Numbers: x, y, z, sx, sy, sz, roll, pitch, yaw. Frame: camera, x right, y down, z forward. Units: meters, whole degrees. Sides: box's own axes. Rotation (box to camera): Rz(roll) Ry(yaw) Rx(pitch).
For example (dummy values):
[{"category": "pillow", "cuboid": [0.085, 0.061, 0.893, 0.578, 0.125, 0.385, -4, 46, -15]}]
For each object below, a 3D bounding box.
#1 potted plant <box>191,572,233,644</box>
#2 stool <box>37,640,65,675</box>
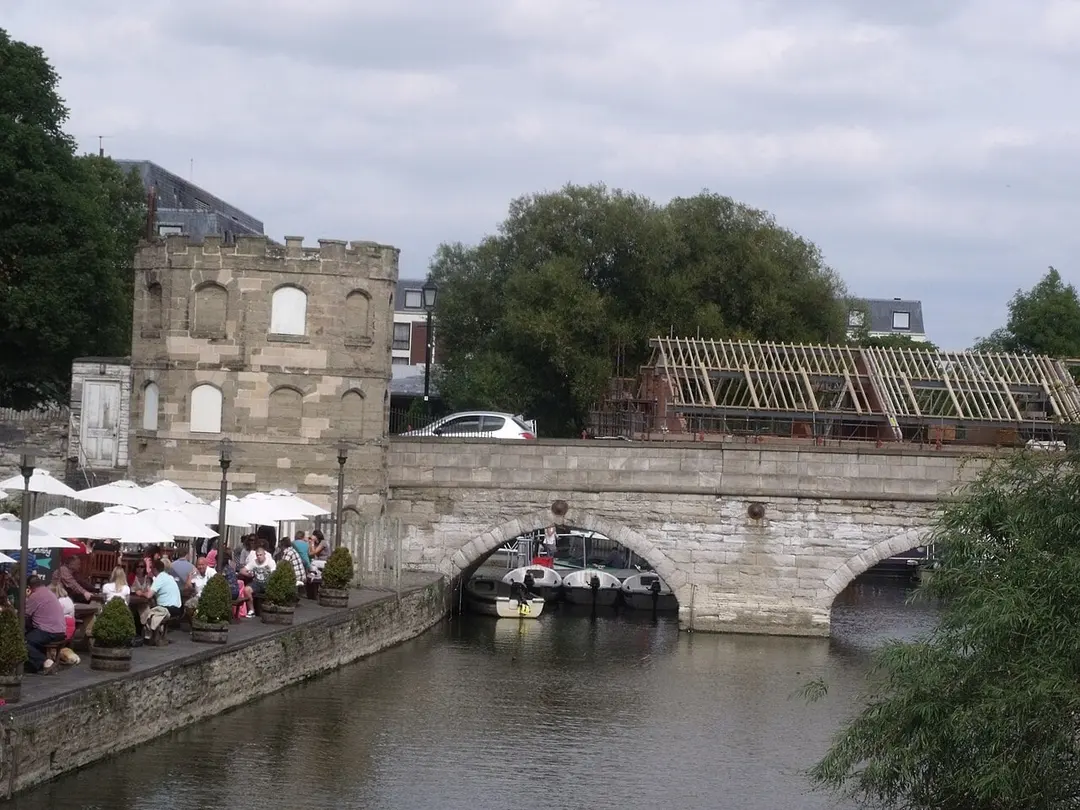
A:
[{"category": "potted plant", "cuboid": [-6.796, 4.035, 41.315, 0.757, 0.808, 1.435, -2, 39, -6]}, {"category": "stool", "cuboid": [-9.252, 4.741, 37.611, 0.604, 0.617, 0.446, 2, -4, -30]}]
